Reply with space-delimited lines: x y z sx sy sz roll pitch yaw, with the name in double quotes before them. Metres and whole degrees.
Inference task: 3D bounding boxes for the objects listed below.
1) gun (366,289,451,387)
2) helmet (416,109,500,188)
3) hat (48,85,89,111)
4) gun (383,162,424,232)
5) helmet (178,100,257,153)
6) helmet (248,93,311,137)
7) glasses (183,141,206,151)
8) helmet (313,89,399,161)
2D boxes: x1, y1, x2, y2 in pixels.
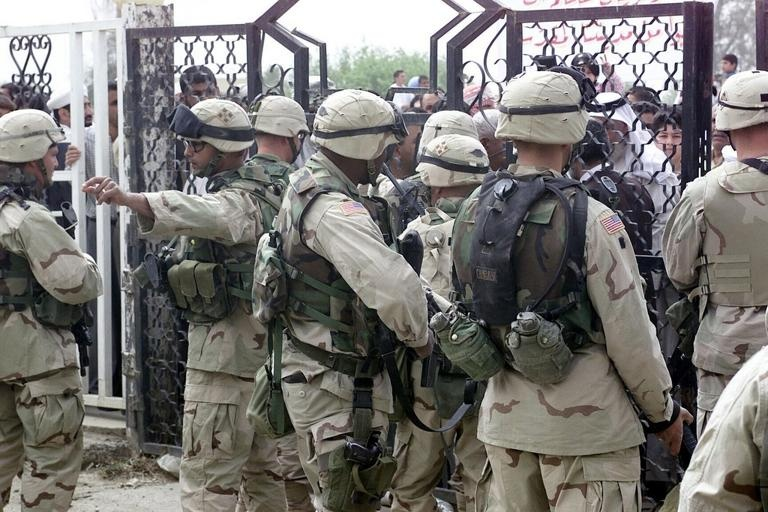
"gun" 0.294 0.465 6.469 0.264 0.643 1.119 1 10 21
"helmet" 0.564 -0.862 7.629 0.555 0.466 0.413 5 8 22
"hat" -2.909 -1.387 9.036 0.263 0.110 0.284 -28 15 -39
"gun" 0.093 -0.420 7.745 0.348 0.296 0.394 -38 12 15
"helmet" -1.200 -0.962 7.047 0.431 0.248 0.351 11 4 1
"helmet" -0.758 -1.011 7.224 0.364 0.245 0.275 11 -1 -16
"glasses" -1.336 -0.781 7.020 0.091 0.029 0.088 9 5 -35
"helmet" -0.156 -0.795 5.962 0.433 0.300 0.386 -5 16 -19
